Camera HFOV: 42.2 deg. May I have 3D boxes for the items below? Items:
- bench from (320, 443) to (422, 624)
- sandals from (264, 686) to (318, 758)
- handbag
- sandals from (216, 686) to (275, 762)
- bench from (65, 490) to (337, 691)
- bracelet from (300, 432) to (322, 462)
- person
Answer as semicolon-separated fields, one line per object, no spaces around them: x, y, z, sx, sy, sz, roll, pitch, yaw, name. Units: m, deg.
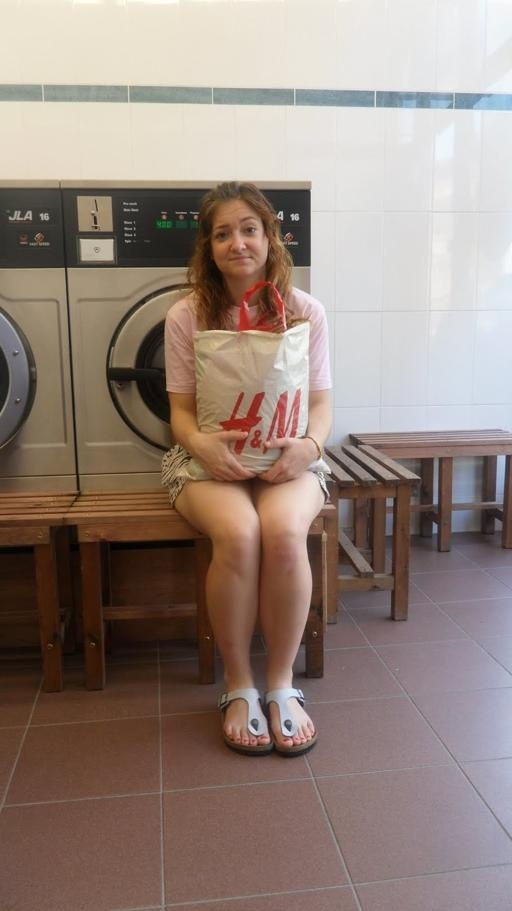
0.352;0.176;2.122;0.265;0.441;0.601;0;29;-1;bench
0.070;0.495;1.279;0.059;0.064;0.142;-2;19;-3;sandals
-0.014;-0.157;1.423;0.369;0.525;0.277;-1;-8;-7;handbag
-0.016;0.511;1.284;0.053;0.068;0.157;-1;8;-6;sandals
-0.212;0.270;1.733;0.480;0.418;0.495;-2;14;-5;bench
0.115;-0.024;1.442;0.019;0.054;0.044;-30;-13;-2;bracelet
0.009;-0.028;1.436;0.391;1.135;0.491;-3;6;-13;person
